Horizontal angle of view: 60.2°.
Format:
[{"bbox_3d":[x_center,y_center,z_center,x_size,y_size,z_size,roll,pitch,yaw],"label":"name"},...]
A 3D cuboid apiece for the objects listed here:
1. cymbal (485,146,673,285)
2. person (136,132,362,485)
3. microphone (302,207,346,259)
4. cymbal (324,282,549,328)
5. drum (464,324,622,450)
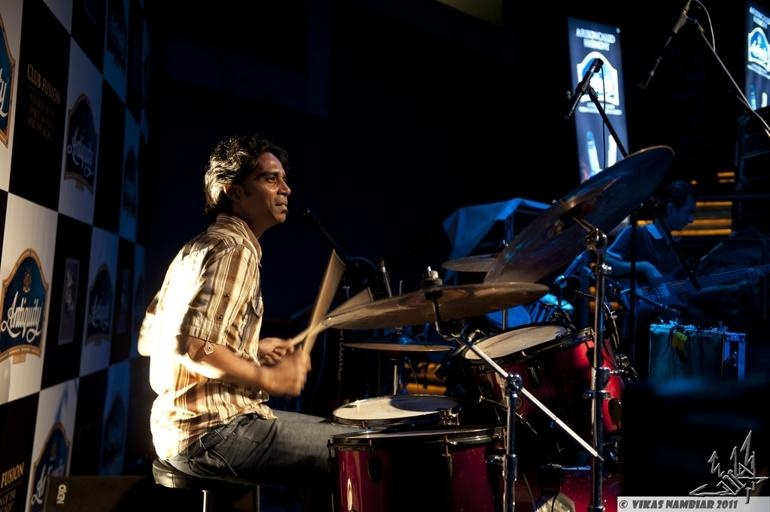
[{"bbox_3d":[0.955,-0.159,3.285,0.916,0.553,0.509,-6,-22,19],"label":"cymbal"},{"bbox_3d":[-0.640,0.213,3.085,0.814,1.556,0.515,9,-21,-18],"label":"person"},{"bbox_3d":[-0.459,-0.163,4.803,0.079,0.455,0.032,-30,7,31],"label":"microphone"},{"bbox_3d":[0.244,0.230,3.064,0.471,0.068,0.451,-8,-17,-23],"label":"cymbal"},{"bbox_3d":[0.863,0.663,3.588,0.710,0.535,0.592,-15,1,43],"label":"drum"}]
